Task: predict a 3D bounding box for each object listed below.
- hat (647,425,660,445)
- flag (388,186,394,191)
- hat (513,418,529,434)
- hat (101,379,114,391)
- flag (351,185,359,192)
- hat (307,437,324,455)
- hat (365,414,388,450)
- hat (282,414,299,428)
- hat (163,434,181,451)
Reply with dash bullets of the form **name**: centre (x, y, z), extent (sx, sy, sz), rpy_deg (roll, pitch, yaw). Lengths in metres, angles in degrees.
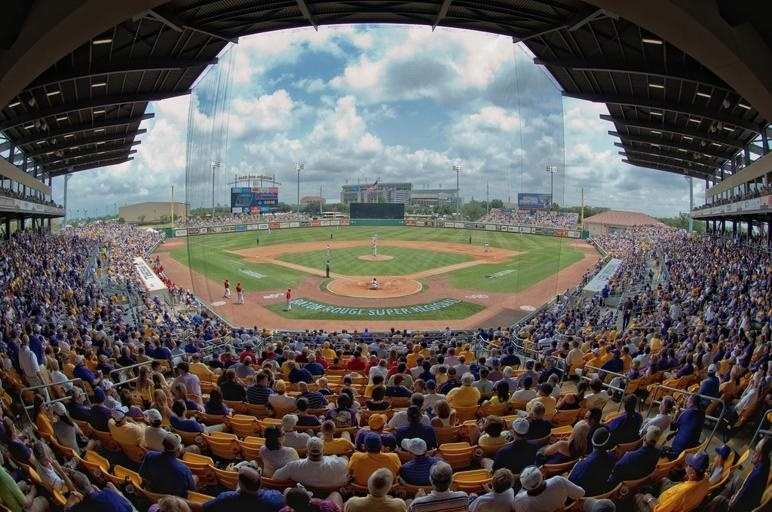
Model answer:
- **hat**: centre (5.729, 3.799, 10.400), extent (0.254, 0.368, 0.242), rpy_deg (4, 4, 21)
- **flag**: centre (2.192, -28.095, 200.188), extent (3.134, 0.725, 2.885), rpy_deg (-5, 28, -13)
- **hat**: centre (2.923, 3.665, 10.508), extent (0.332, 0.398, 0.356), rpy_deg (3, 4, 17)
- **hat**: centre (-7.356, 3.342, 12.733), extent (0.317, 0.127, 0.245), rpy_deg (6, 7, 44)
- **flag**: centre (-12.471, -28.204, 203.847), extent (2.203, 2.415, 10.906), rpy_deg (1, 5, -13)
- **hat**: centre (-1.452, 3.941, 9.993), extent (0.315, 0.460, 0.176), rpy_deg (1, 4, -13)
- **hat**: centre (-0.195, 3.845, 10.906), extent (0.445, 0.737, 0.588), rpy_deg (3, 11, -1)
- **hat**: centre (-2.131, 3.664, 10.742), extent (0.253, 0.198, 0.374), rpy_deg (7, 49, 0)
- **hat**: centre (-4.474, 3.878, 10.134), extent (0.322, 0.438, 0.224), rpy_deg (0, 4, -23)
